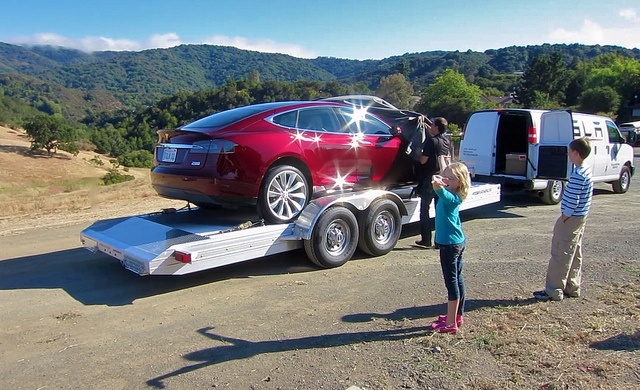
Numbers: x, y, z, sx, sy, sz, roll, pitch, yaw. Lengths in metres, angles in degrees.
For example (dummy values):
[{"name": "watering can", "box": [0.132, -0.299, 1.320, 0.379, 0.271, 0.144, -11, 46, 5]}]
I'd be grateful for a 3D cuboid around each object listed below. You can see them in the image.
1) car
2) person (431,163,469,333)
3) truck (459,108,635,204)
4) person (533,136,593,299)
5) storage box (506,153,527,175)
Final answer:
[{"name": "car", "box": [-0.192, -0.775, 7.624, 5.575, 1.407, 2.440, -10, 14, -34]}, {"name": "person", "box": [1.695, 0.674, 5.087, 0.436, 2.178, 0.582, 2, 11, 19]}, {"name": "truck", "box": [7.099, -1.274, 11.844, 4.937, 1.800, 3.151, -9, 13, -36]}, {"name": "person", "box": [3.662, 0.553, 5.780, 0.796, 2.004, 0.364, -6, 11, -23]}, {"name": "storage box", "box": [5.559, -0.888, 10.931, 0.603, 0.469, 0.597, 4, 7, 39]}]
